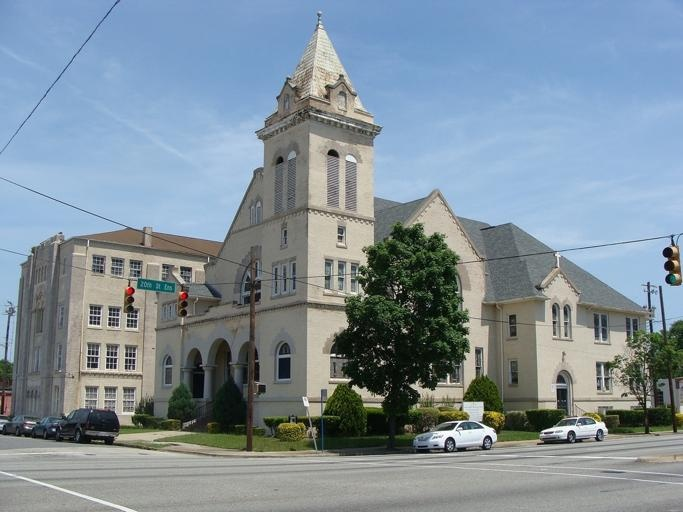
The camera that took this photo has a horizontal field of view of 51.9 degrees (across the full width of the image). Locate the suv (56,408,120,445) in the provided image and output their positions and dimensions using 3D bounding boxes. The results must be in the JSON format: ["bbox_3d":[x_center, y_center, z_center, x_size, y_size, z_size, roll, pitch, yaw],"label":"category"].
[{"bbox_3d":[-15.820,10.705,43.924,4.793,2.103,2.085,-14,-21,39],"label":"suv"}]

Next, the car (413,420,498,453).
[{"bbox_3d":[6.215,10.000,38.587,4.336,1.376,1.833,10,-19,-32],"label":"car"}]

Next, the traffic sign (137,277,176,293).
[{"bbox_3d":[-10.880,1.707,41.411,2.352,0.805,0.049,13,-18,-32],"label":"traffic sign"}]

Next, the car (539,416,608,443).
[{"bbox_3d":[14.334,10.769,43.354,4.524,1.677,1.076,9,-18,-28],"label":"car"}]

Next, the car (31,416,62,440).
[{"bbox_3d":[-19.461,11.651,47.146,1.685,1.248,3.729,10,-16,-40],"label":"car"}]
